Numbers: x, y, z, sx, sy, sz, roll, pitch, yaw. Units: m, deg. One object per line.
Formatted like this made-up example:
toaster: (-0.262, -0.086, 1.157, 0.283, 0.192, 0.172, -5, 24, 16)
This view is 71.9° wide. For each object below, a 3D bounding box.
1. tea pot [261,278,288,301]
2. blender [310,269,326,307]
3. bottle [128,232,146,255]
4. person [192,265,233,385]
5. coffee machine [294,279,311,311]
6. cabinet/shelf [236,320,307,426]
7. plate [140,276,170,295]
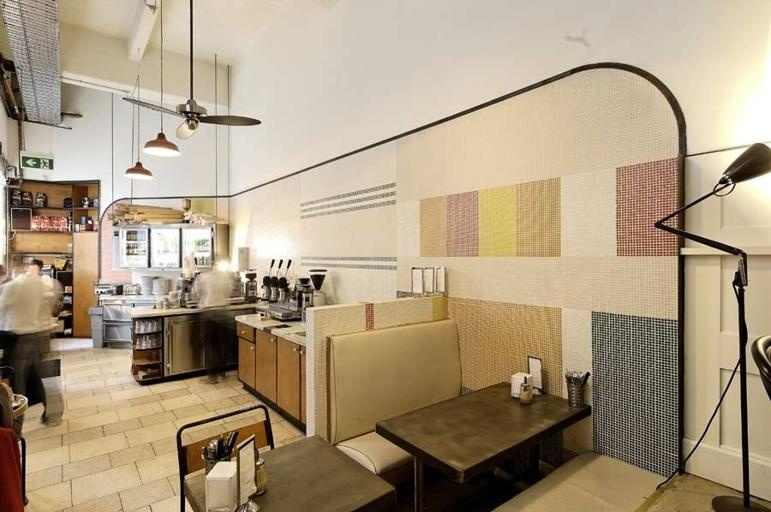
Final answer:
tea pot: (-1.650, 0.510, 7.996, 0.325, 0.310, 0.229, -7, -14, 35)
blender: (-0.940, 0.442, 7.484, 0.234, 0.480, 0.452, -1, 0, -8)
bottle: (-4.864, -0.249, 10.395, 0.410, 0.380, 0.088, -1, 1, 18)
person: (-2.666, 1.088, 8.303, 0.569, 1.243, 0.627, -1, 1, -22)
coffee machine: (-1.170, 0.555, 7.601, 0.244, 0.454, 0.478, -1, 0, -10)
cabinet/shelf: (-1.425, 1.507, 6.778, 0.532, 0.850, 1.480, 3, -1, -36)
plate: (-4.476, 0.609, 10.305, 0.488, 0.298, 0.273, -1, 0, -24)
